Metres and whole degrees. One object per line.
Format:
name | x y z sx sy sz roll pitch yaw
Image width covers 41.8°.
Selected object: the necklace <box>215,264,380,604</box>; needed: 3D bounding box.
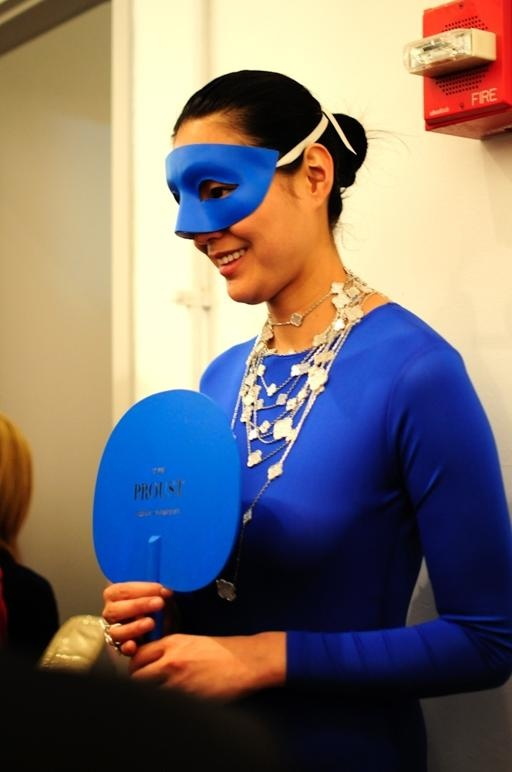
necklace | 0.084 0.094 1.026 0.026 0.555 0.184 35 -22 -31
